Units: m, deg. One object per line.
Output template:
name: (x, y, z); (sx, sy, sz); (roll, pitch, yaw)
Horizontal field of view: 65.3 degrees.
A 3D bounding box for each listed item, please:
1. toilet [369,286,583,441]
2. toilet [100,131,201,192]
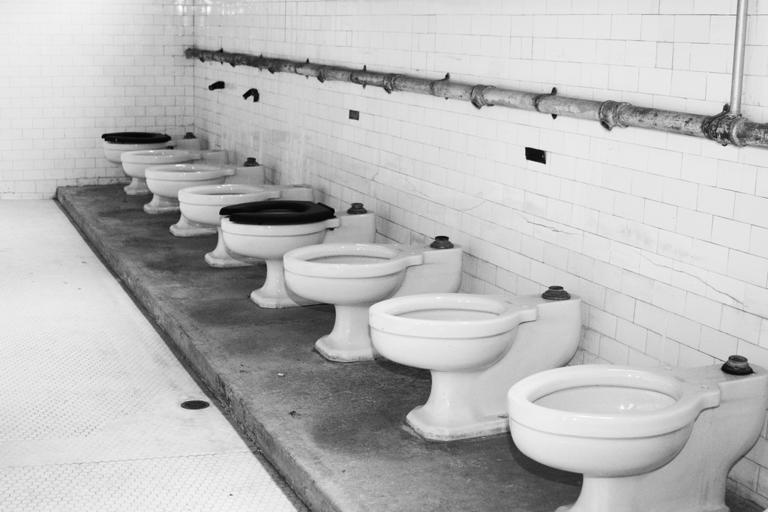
toilet: (0.490, 0.526, 3.176); (1.069, 0.495, 0.699); (-3, 10, -21)
toilet: (-2.703, -1.028, 7.360); (1.101, 0.405, 0.787); (0, 10, 11)
